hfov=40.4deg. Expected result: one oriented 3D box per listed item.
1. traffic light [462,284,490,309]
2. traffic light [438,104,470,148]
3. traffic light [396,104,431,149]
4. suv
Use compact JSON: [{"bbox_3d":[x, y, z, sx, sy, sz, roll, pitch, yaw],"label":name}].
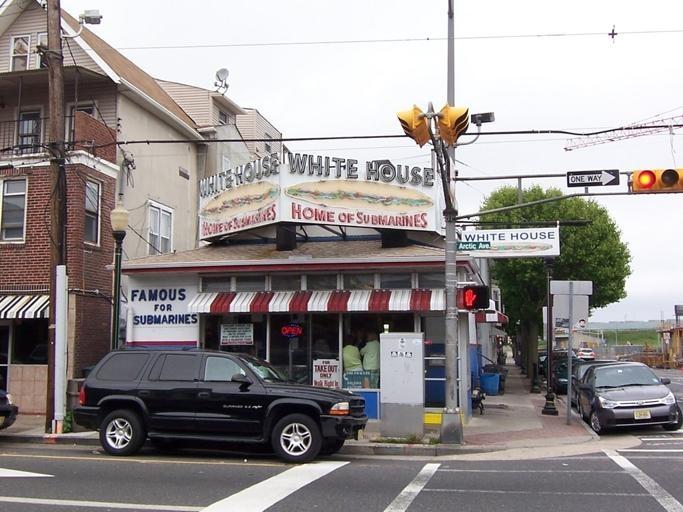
[{"bbox_3d":[3.411,1.036,23.641,0.651,0.661,0.608,-4,-7,15],"label":"traffic light"},{"bbox_3d":[2.588,-3.109,21.730,0.683,0.786,0.829,-3,-7,5],"label":"traffic light"},{"bbox_3d":[1.684,-2.977,21.660,0.302,0.863,0.661,23,-16,9],"label":"traffic light"},{"bbox_3d":[-2.818,3.551,22.280,6.226,2.388,2.892,-3,-9,12],"label":"suv"}]
